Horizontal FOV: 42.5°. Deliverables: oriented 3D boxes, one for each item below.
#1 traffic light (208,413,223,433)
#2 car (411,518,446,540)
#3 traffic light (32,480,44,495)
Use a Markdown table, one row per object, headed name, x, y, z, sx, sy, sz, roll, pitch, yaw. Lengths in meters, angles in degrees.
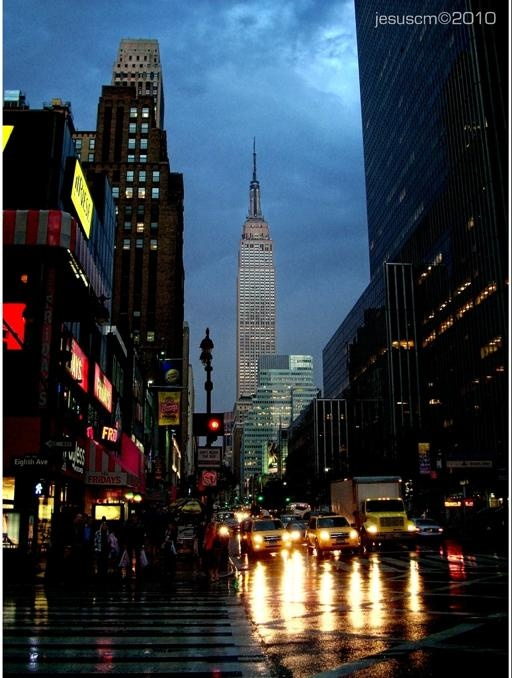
| name | x | y | z | sx | sy | sz | roll | pitch | yaw |
| --- | --- | --- | --- | --- | --- | --- | --- | --- | --- |
| traffic light | -1.408 | 2.931 | 22.786 | 0.503 | 0.715 | 0.507 | 3 | -12 | -14 |
| car | 10.788 | 11.919 | 41.242 | 1.565 | 1.241 | 2.927 | -3 | -14 | 13 |
| traffic light | -8.431 | 5.801 | 25.698 | 0.354 | 0.507 | 0.662 | 4 | -14 | -19 |
